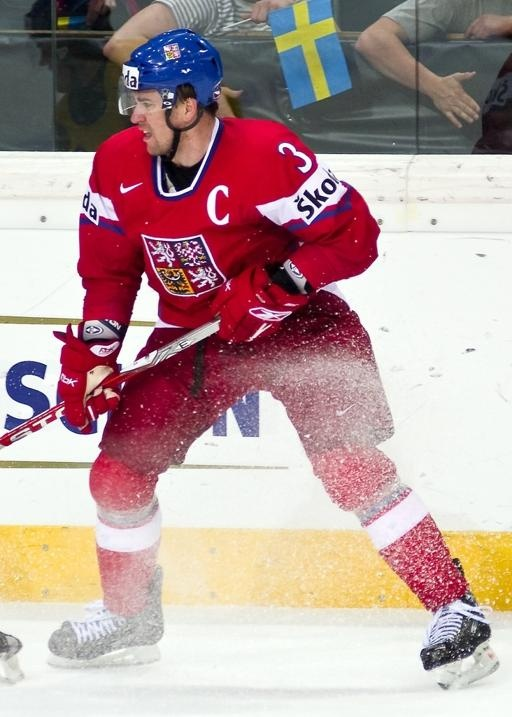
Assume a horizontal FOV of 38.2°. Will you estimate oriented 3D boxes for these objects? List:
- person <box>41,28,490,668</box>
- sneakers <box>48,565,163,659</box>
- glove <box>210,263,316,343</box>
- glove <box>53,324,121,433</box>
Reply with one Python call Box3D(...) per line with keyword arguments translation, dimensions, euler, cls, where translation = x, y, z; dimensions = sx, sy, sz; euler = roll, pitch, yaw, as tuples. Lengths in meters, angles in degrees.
Box3D(translation=(-0.007, 0.027, 1.463), dimensions=(0.911, 1.267, 0.441), euler=(1, 25, 10), cls="person")
Box3D(translation=(-0.312, 0.581, 1.716), dimensions=(0.382, 0.211, 0.114), euler=(2, 8, -7), cls="sneakers")
Box3D(translation=(0.012, -0.109, 1.393), dimensions=(0.191, 0.150, 0.107), euler=(-5, 24, -4), cls="glove")
Box3D(translation=(-0.341, 0.037, 1.465), dimensions=(0.146, 0.199, 0.075), euler=(0, 5, -36), cls="glove")
